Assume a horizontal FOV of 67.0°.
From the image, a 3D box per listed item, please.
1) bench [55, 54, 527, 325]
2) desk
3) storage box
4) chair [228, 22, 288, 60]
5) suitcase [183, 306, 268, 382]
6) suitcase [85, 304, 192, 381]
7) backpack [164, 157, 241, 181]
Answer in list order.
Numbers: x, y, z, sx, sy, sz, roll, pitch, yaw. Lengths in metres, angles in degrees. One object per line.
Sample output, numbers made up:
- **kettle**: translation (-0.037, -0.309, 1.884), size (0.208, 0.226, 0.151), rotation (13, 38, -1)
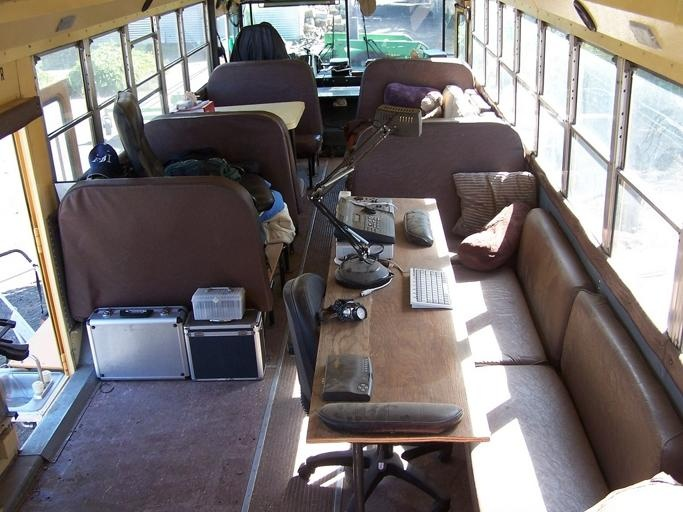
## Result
- **bench**: translation (-0.634, -0.331, 3.934), size (2.526, 1.128, 1.882), rotation (-3, 29, 0)
- **desk**: translation (0.285, 0.543, 2.670), size (0.455, 0.456, 1.883), rotation (-1, 39, 2)
- **storage box**: translation (-0.823, 0.663, 3.728), size (0.528, 0.447, 0.333), rotation (-3, 9, -3)
- **chair**: translation (-1.189, -3.011, 7.215), size (0.781, 0.478, 0.293), rotation (7, 29, 16)
- **suitcase**: translation (-0.814, 0.664, 3.735), size (0.511, 0.447, 0.322), rotation (-2, 9, 2)
- **suitcase**: translation (-1.405, 0.590, 3.599), size (0.476, 0.470, 0.182), rotation (2, 32, -5)
- **backpack**: translation (-1.118, -0.702, 4.120), size (0.429, 0.158, 0.321), rotation (1, 25, 0)
